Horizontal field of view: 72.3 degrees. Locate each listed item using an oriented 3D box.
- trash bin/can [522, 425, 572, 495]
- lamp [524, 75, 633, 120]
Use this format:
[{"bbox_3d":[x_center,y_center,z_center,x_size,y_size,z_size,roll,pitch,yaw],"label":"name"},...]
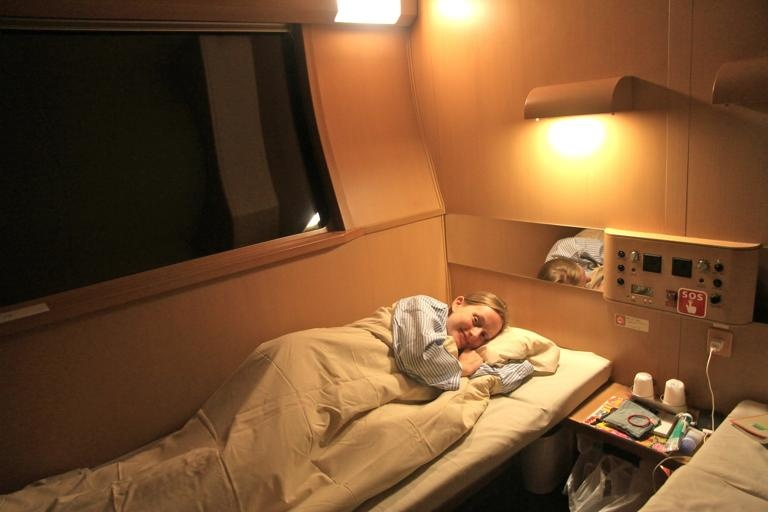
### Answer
[{"bbox_3d":[0.848,1.064,2.739,0.185,0.363,0.371,5,18,31],"label":"trash bin/can"},{"bbox_3d":[0.943,-0.771,2.559,0.481,0.169,0.211,6,18,32],"label":"lamp"}]
